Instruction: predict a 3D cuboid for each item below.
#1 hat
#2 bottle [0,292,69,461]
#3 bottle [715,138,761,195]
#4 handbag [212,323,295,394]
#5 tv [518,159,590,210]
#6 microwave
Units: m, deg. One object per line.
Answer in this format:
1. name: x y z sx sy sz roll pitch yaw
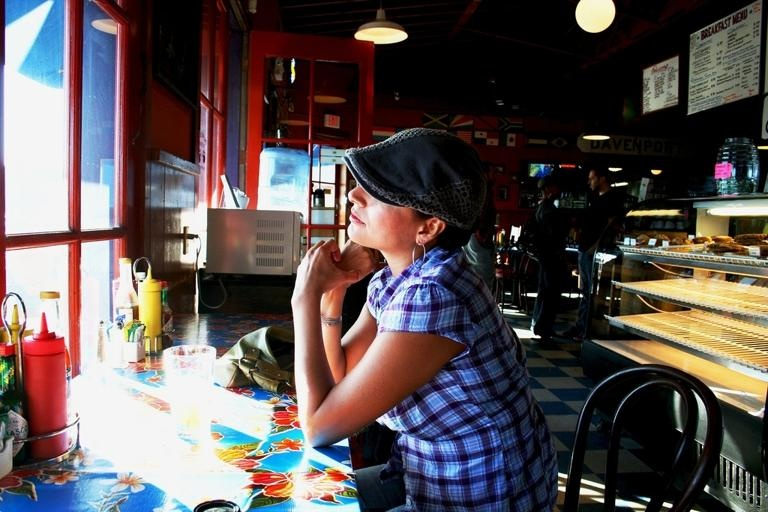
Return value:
1. hat: 0.096 -0.225 1.670 0.421 0.297 0.131 1 4 4
2. bottle: -1.000 0.338 1.599 0.213 0.462 0.124 0 4 1
3. bottle: 2.042 -0.525 3.239 0.205 0.338 0.240 3 5 40
4. handbag: -0.476 0.382 2.083 0.270 0.107 0.217 1 0 25
5. tv: 3.361 -1.458 11.198 1.684 1.133 0.865 0 -3 -3
6. microwave: -0.791 -0.085 3.453 0.723 0.496 0.385 1 8 -5
